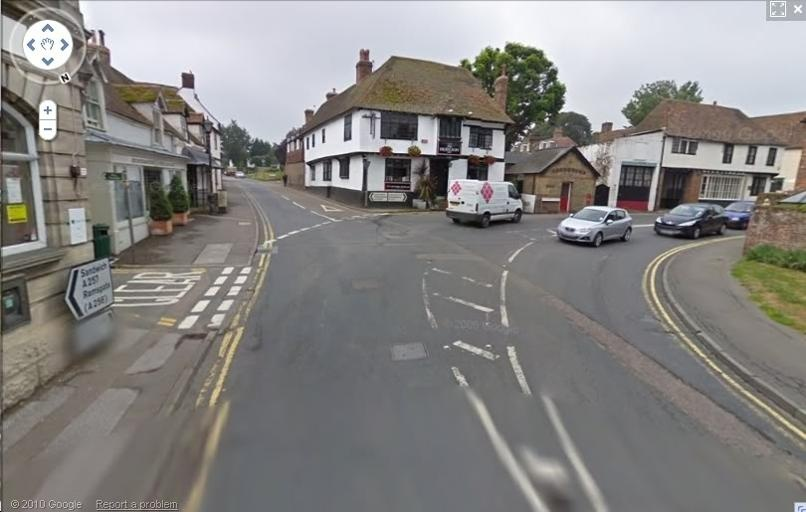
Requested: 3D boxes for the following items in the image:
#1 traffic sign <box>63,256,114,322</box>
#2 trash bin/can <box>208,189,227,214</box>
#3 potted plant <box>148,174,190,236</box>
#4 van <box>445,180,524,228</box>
[{"bbox_3d":[-8.053,0.825,13.979,0.161,1.573,1.497,1,6,23],"label":"traffic sign"},{"bbox_3d":[-10.680,-3.150,31.779,1.217,1.302,0.959,11,17,35],"label":"trash bin/can"},{"bbox_3d":[-10.597,-2.244,24.767,1.062,2.305,2.642,0,11,-6],"label":"potted plant"},{"bbox_3d":[4.545,-2.956,29.282,3.876,2.029,2.122,-11,16,-36],"label":"van"}]
